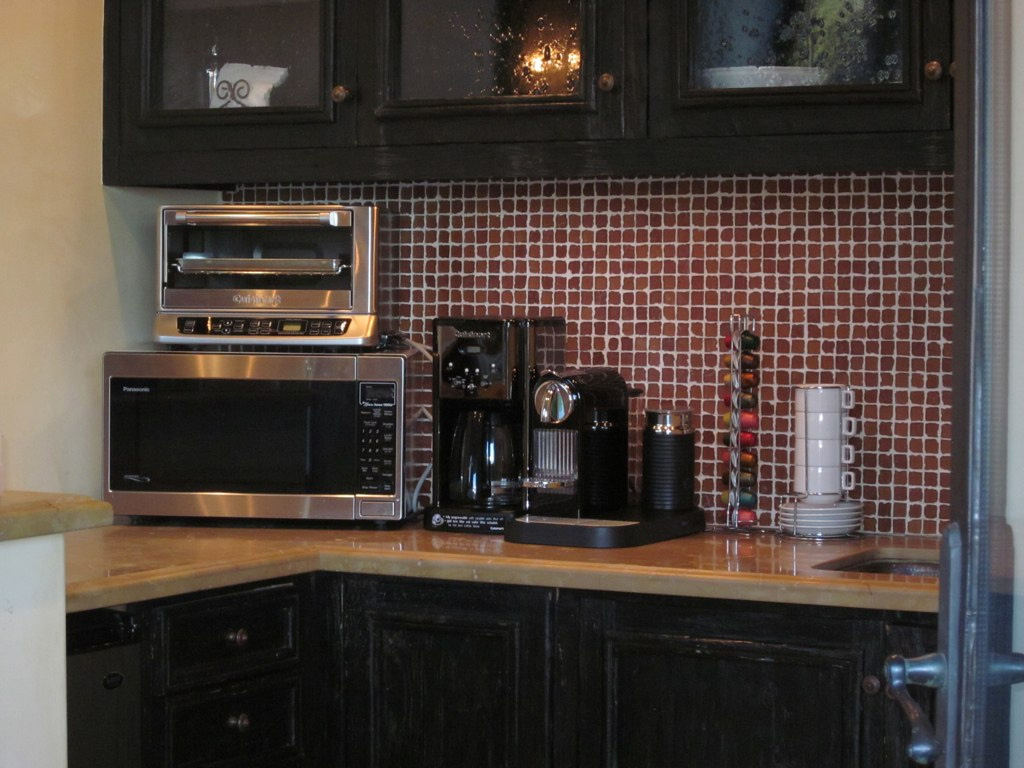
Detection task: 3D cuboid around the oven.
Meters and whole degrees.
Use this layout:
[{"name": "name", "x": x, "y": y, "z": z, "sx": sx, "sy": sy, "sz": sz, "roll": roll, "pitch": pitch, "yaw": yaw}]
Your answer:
[{"name": "oven", "x": -0.591, "y": -0.222, "z": 2.720, "sx": 0.494, "sy": 0.327, "sz": 0.307, "roll": -1, "pitch": -7, "yaw": -19}]

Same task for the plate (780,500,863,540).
[{"name": "plate", "x": 0.674, "y": 0.297, "z": 2.534, "sx": 0.172, "sy": 0.081, "sz": 0.088, "roll": -1, "pitch": -2, "yaw": 8}]

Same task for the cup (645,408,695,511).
[{"name": "cup", "x": 0.343, "y": 0.171, "z": 2.560, "sx": 0.111, "sy": 0.221, "sz": 0.086, "roll": -1, "pitch": -2, "yaw": 3}]

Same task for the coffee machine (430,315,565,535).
[{"name": "coffee machine", "x": -0.020, "y": 0.062, "z": 2.595, "sx": 0.314, "sy": 0.422, "sz": 0.174, "roll": 0, "pitch": -2, "yaw": -14}]

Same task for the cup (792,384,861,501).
[{"name": "cup", "x": 0.696, "y": 0.128, "z": 2.568, "sx": 0.134, "sy": 0.258, "sz": 0.155, "roll": -1, "pitch": -2, "yaw": 17}]

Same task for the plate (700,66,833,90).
[{"name": "plate", "x": 0.504, "y": -0.620, "z": 2.336, "sx": 0.256, "sy": 0.057, "sz": 0.016, "roll": -1, "pitch": -2, "yaw": 12}]

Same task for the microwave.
[{"name": "microwave", "x": -0.578, "y": 0.109, "z": 2.553, "sx": 0.642, "sy": 0.408, "sz": 0.377, "roll": 0, "pitch": -3, "yaw": 7}]
